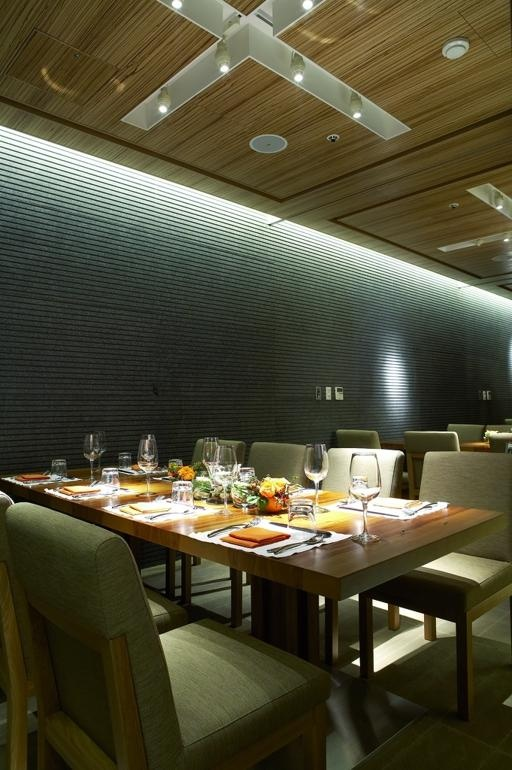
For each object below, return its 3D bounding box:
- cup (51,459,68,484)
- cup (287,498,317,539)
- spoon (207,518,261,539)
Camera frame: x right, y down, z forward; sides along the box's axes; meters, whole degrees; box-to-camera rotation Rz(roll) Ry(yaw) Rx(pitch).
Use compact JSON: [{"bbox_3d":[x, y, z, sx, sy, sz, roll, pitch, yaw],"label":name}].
[{"bbox_3d":[-0.997,0.440,2.678,0.098,0.146,0.100,0,-3,0],"label":"cup"},{"bbox_3d":[0.132,0.380,1.499,0.071,0.134,0.081,-3,-3,32],"label":"cup"},{"bbox_3d":[-0.061,0.395,1.435,0.022,0.024,0.203,0,-6,28],"label":"spoon"}]
